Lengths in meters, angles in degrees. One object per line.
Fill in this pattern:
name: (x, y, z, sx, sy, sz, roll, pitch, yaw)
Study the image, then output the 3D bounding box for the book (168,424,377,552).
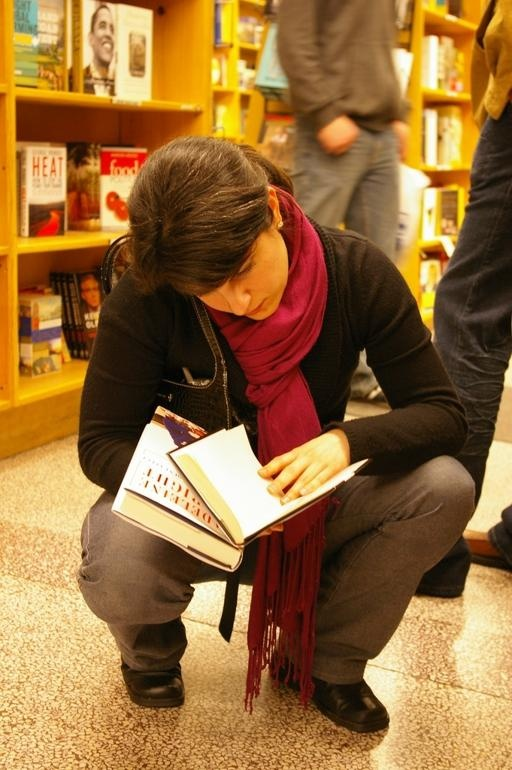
book: (0.004, 0.082, 0.647, 0.144, 0.057, 0.155, 43, 27, 15)

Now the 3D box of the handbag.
handbag: (-0.101, -0.055, 0.755, 0.127, 0.232, 0.163, 12, 47, 46)

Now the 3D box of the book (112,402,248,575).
book: (-0.089, 0.101, 0.685, 0.183, 0.048, 0.183, 35, 18, -18)

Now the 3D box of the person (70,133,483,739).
person: (0.001, 0.073, 0.871, 0.520, 0.810, 0.493, 0, 11, -6)
